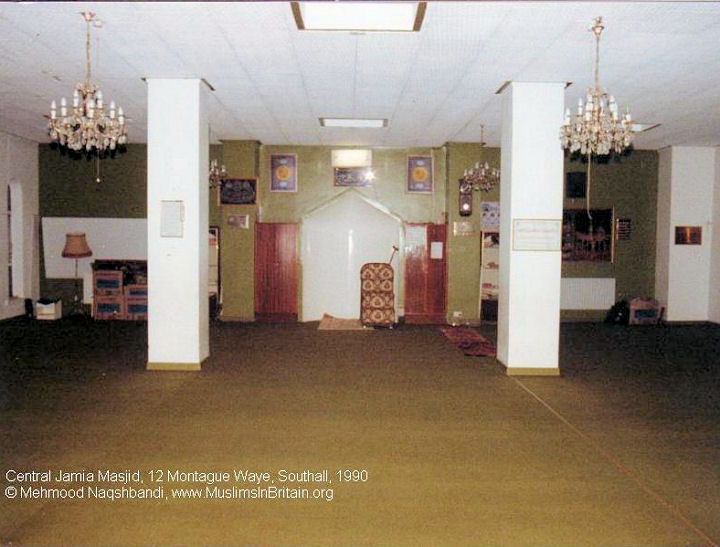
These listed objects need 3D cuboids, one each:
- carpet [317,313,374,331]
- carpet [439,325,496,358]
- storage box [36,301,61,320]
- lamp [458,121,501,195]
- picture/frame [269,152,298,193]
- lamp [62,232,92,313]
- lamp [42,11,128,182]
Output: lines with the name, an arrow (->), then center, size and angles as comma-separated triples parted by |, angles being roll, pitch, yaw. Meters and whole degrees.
carpet -> -0.272, 0.996, 12.406 | 1.064, 0.087, 1.295 | 1, 8, 0
carpet -> 1.931, 1.182, 10.935 | 0.762, 0.201, 2.435 | 0, 8, -1
storage box -> -6.333, 0.741, 12.523 | 0.378, 0.377, 0.390 | 0, 0, 20
lamp -> 2.368, -2.252, 11.922 | 0.678, 1.264, 0.706 | 2, 5, 21
picture/frame -> -1.617, -2.163, 12.862 | 0.776, 1.052, 0.107 | 1, 10, 1
lamp -> -5.864, -0.049, 12.819 | 0.554, 1.592, 0.447 | -2, 9, -17
lamp -> -3.458, -2.321, 7.782 | 0.857, 1.844, 0.851 | 12, 20, 8
